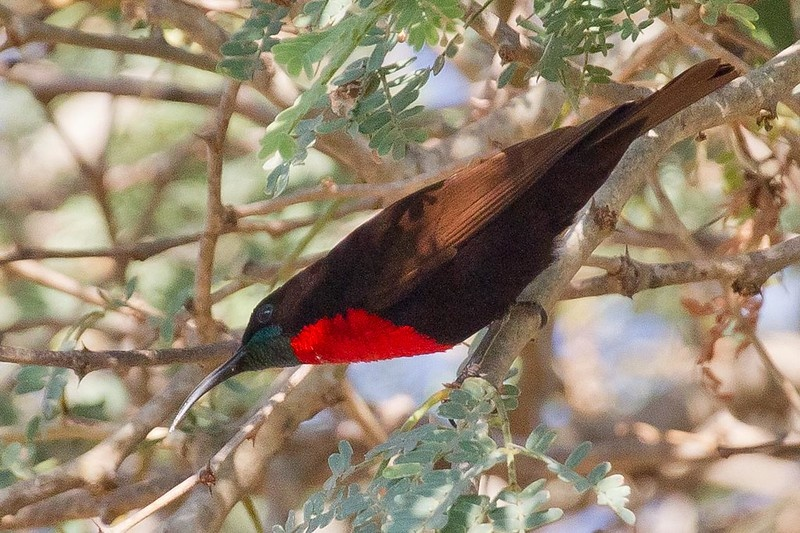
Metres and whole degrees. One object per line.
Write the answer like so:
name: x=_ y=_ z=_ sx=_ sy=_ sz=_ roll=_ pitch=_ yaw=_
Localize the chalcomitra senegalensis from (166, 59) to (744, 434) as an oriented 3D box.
chalcomitra senegalensis: x=0.308 y=-0.036 z=4.006 sx=2.234 sy=0.652 sz=0.546 roll=-29 pitch=40 yaw=14
